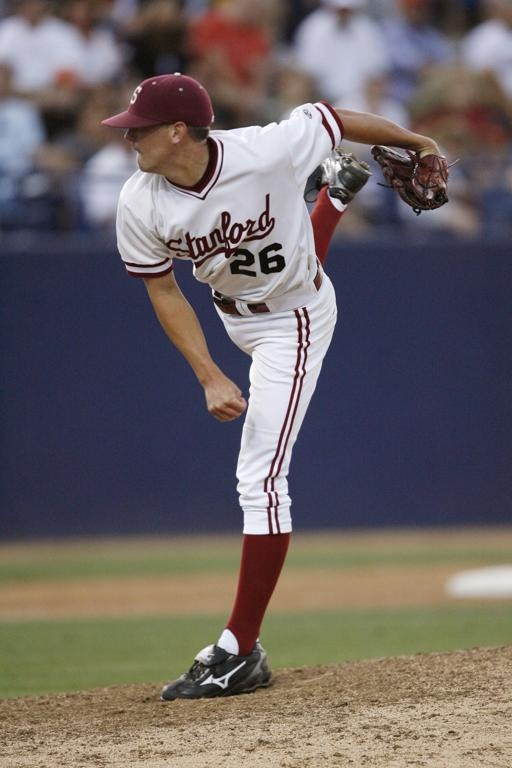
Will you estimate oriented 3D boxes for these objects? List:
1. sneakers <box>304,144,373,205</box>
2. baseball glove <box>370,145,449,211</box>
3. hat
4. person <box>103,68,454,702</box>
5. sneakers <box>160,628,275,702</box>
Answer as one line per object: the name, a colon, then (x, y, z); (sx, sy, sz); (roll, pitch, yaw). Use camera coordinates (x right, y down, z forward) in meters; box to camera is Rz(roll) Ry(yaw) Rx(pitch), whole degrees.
sneakers: (0.246, -0.602, 2.942); (0.147, 0.211, 0.112); (38, 7, -9)
baseball glove: (0.456, -0.599, 2.840); (0.223, 0.158, 0.116); (42, 22, 5)
hat: (-0.235, -0.677, 2.383); (0.243, 0.112, 0.139); (-3, 29, -10)
person: (0.075, 0.030, 2.589); (0.888, 1.555, 0.561); (-2, -7, -11)
sneakers: (-0.098, 0.768, 2.715); (0.342, 0.125, 0.108); (-5, -2, -23)
